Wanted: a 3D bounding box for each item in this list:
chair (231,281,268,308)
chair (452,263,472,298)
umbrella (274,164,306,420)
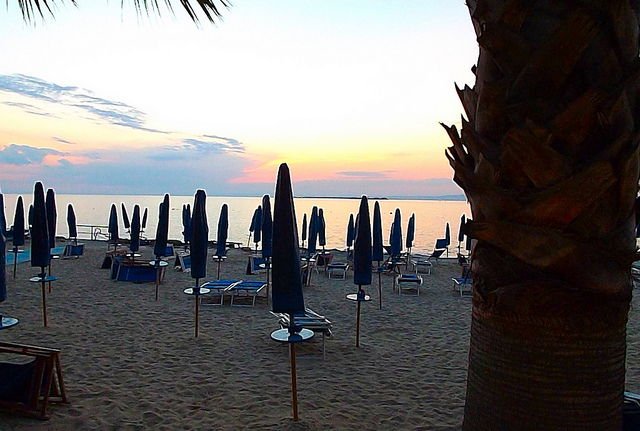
[{"bbox_3d":[-1.741,1.848,12.564,0.703,0.572,1.895,1,6,-7],"label":"chair"},{"bbox_3d":[3.759,1.638,13.494,0.524,0.665,0.546,-3,12,0],"label":"chair"},{"bbox_3d":[-0.407,0.974,6.693,0.379,3.241,1.093,1,6,-3],"label":"umbrella"}]
